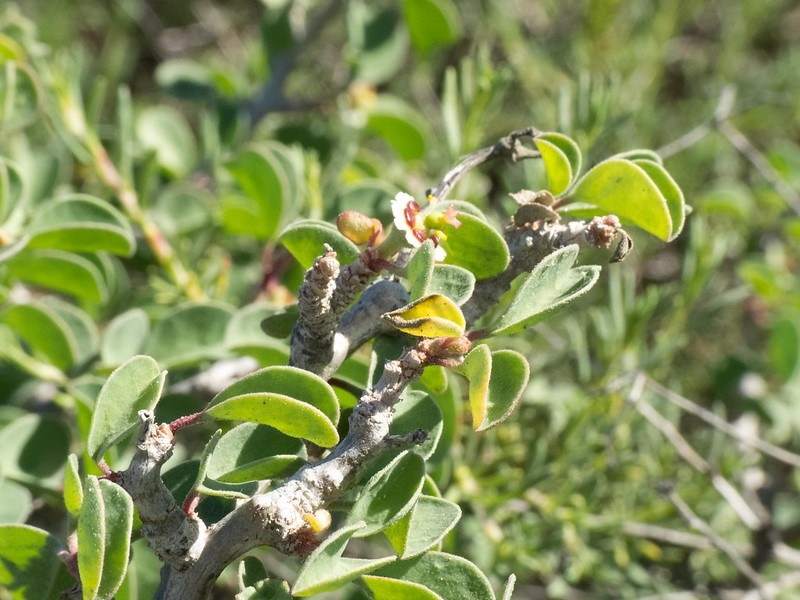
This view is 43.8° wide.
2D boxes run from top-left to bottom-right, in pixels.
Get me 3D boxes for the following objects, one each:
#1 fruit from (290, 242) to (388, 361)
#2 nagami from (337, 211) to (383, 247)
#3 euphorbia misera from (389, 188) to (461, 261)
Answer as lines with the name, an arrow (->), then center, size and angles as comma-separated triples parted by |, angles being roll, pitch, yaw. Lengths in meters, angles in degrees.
fruit -> -0.136, 0.012, 2.116 | 0.093, 0.393, 0.127 | 11, 57, -12
nagami -> -0.083, -0.149, 2.172 | 0.104, 0.057, 0.053 | 24, 88, 9
euphorbia misera -> 0.051, -0.152, 2.140 | 0.139, 0.075, 0.143 | 44, 37, -22
